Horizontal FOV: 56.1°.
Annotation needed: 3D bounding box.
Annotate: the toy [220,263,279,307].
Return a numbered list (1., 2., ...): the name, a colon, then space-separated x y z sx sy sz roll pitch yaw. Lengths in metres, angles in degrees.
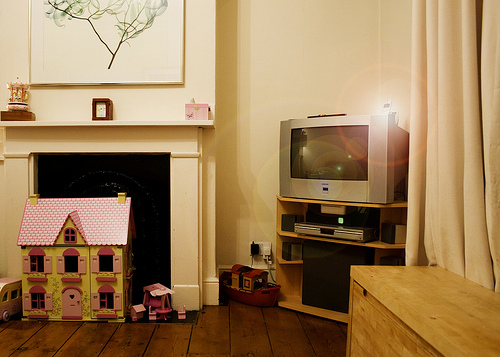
1. toy: -0.005 0.840 3.681 0.421 0.213 0.259 3 4 30

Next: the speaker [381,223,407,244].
1. speaker: 1.036 0.385 3.366 0.141 0.132 0.141 1 2 -3

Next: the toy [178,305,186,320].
1. toy: -0.508 0.983 3.451 0.050 0.087 0.096 2 -1 -7

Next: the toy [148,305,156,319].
1. toy: -0.703 0.963 3.367 0.053 0.095 0.039 -4 1 -7

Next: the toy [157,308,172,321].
1. toy: -0.618 0.969 3.384 0.089 0.055 0.090 0 1 8

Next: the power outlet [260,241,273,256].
1. power outlet: 0.129 0.577 3.883 0.111 0.114 0.058 1 -8 -5

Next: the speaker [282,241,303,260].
1. speaker: 0.336 0.557 3.661 0.135 0.135 0.132 1 1 -3

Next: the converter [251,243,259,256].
1. converter: 0.036 0.583 3.872 0.091 0.128 0.067 1 2 -2

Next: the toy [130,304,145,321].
1. toy: -0.813 0.950 3.368 0.111 0.114 0.095 0 1 43

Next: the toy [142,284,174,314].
1. toy: -0.670 0.864 3.415 0.179 0.172 0.261 -3 7 -42

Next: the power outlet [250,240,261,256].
1. power outlet: 0.037 0.577 3.871 0.101 0.180 0.097 0 -1 0
